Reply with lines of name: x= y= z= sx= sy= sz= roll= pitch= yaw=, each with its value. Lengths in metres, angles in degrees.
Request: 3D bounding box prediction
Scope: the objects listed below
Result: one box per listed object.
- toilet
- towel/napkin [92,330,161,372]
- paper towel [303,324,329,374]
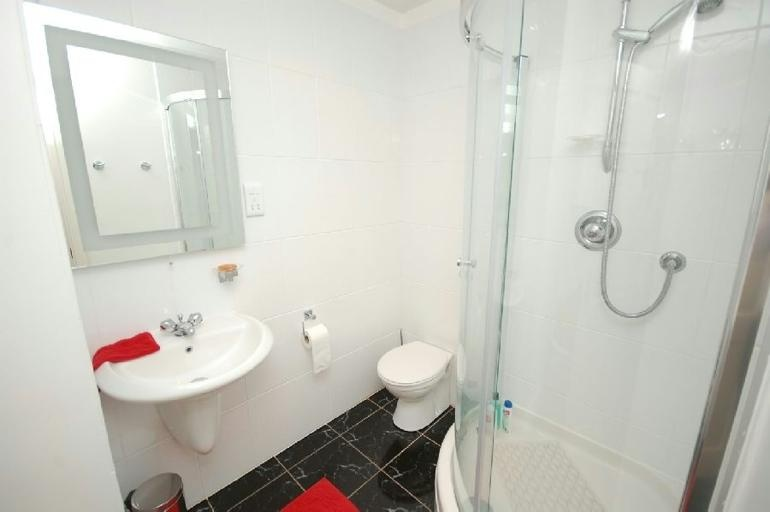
toilet: x=0.190 y=0.822 z=3.113 sx=0.395 sy=0.446 sz=0.497 roll=9 pitch=15 yaw=40
towel/napkin: x=-1.165 y=0.421 z=2.237 sx=0.200 sy=0.053 sz=0.147 roll=-16 pitch=29 yaw=-33
paper towel: x=-0.396 y=0.546 z=2.935 sx=0.145 sy=0.327 sz=0.105 roll=-13 pitch=18 yaw=-28
